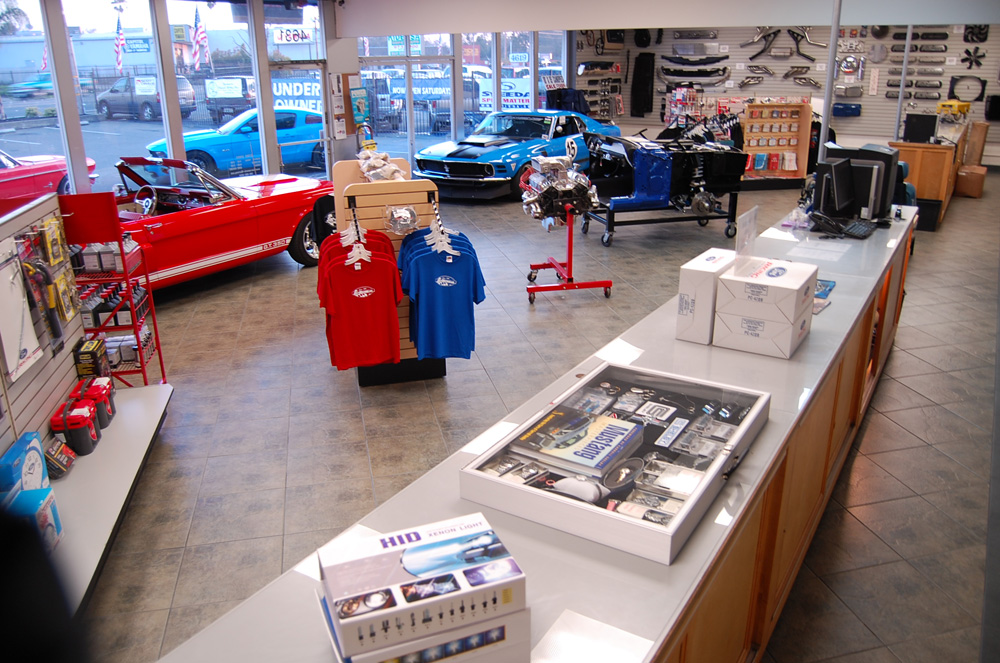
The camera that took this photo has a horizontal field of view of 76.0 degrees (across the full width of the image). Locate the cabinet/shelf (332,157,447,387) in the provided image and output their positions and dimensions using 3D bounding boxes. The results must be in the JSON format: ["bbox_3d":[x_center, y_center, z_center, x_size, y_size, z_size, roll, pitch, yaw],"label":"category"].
[{"bbox_3d":[-0.960,-0.537,5.805,0.904,1.890,1.072,-7,24,-7],"label":"cabinet/shelf"}]

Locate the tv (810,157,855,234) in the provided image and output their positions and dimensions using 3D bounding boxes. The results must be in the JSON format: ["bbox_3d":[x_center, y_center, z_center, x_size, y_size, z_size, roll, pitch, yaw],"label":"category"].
[{"bbox_3d":[3.044,-1.220,5.820,0.276,0.618,0.572,13,39,36],"label":"tv"}]

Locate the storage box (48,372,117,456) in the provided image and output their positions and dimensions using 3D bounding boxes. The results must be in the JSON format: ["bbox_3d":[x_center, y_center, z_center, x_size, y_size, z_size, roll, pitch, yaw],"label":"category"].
[{"bbox_3d":[-3.038,0.608,4.661,0.266,0.318,0.626,-9,23,-12],"label":"storage box"}]

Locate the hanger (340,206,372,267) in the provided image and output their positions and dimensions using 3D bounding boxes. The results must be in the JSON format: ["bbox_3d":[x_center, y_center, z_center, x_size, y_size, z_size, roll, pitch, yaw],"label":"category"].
[{"bbox_3d":[-1.180,-0.718,5.196,0.223,0.350,0.238,-9,24,-11],"label":"hanger"}]

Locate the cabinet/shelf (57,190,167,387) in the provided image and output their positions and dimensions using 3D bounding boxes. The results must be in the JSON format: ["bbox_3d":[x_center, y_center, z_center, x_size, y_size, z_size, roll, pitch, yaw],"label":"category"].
[{"bbox_3d":[-3.057,-0.455,5.277,0.695,1.286,0.442,14,22,37],"label":"cabinet/shelf"}]

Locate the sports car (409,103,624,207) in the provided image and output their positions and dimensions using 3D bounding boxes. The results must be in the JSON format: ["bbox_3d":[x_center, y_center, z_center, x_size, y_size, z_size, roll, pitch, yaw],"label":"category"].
[{"bbox_3d":[0.654,-3.375,12.335,3.805,1.047,2.030,-19,28,-41],"label":"sports car"}]

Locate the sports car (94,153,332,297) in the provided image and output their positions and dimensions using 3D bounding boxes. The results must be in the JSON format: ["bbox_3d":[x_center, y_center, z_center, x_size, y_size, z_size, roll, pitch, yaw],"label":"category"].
[{"bbox_3d":[-3.327,-1.382,8.076,1.717,1.055,2.727,25,33,37],"label":"sports car"}]

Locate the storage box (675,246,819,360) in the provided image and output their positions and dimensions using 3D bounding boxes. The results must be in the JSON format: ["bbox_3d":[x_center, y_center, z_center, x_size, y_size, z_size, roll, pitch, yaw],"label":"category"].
[{"bbox_3d":[1.370,-0.132,3.681,0.701,0.390,0.669,11,26,27],"label":"storage box"}]

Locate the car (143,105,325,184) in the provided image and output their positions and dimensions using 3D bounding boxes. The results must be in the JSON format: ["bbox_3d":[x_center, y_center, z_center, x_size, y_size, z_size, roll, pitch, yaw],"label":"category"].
[{"bbox_3d":[-4.391,-3.280,11.114,2.777,0.838,1.111,-13,33,-34],"label":"car"}]

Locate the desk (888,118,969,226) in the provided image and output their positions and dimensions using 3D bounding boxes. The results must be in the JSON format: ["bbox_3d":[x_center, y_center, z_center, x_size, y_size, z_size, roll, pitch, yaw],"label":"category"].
[{"bbox_3d":[7.531,-2.847,11.333,0.961,1.358,3.579,13,27,34],"label":"desk"}]

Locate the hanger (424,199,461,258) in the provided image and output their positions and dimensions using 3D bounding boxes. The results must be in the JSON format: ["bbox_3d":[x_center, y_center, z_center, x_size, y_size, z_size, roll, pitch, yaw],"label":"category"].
[{"bbox_3d":[-0.529,-0.893,5.462,0.263,0.411,0.493,-8,23,-8],"label":"hanger"}]

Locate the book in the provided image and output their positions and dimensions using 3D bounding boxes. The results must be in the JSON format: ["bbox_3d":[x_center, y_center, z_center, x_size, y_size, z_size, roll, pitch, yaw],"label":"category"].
[{"bbox_3d":[0.311,0.427,2.518,0.282,0.055,0.288,15,31,35],"label":"book"}]

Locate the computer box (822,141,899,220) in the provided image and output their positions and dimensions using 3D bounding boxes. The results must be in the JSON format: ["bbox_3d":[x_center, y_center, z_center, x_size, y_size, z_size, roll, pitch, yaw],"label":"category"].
[{"bbox_3d":[3.633,-1.492,6.273,0.514,0.846,0.852,-18,5,25],"label":"computer box"}]

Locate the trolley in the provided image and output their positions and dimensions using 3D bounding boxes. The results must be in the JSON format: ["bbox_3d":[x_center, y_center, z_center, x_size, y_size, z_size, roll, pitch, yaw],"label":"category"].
[{"bbox_3d":[2.577,-2.424,10.205,2.739,1.493,2.008,-7,27,-11],"label":"trolley"}]

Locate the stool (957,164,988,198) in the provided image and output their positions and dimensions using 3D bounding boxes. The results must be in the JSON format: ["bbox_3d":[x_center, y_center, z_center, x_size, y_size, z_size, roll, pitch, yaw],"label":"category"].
[{"bbox_3d":[9.270,-2.867,12.459,0.693,0.586,0.668,2,31,34],"label":"stool"}]
